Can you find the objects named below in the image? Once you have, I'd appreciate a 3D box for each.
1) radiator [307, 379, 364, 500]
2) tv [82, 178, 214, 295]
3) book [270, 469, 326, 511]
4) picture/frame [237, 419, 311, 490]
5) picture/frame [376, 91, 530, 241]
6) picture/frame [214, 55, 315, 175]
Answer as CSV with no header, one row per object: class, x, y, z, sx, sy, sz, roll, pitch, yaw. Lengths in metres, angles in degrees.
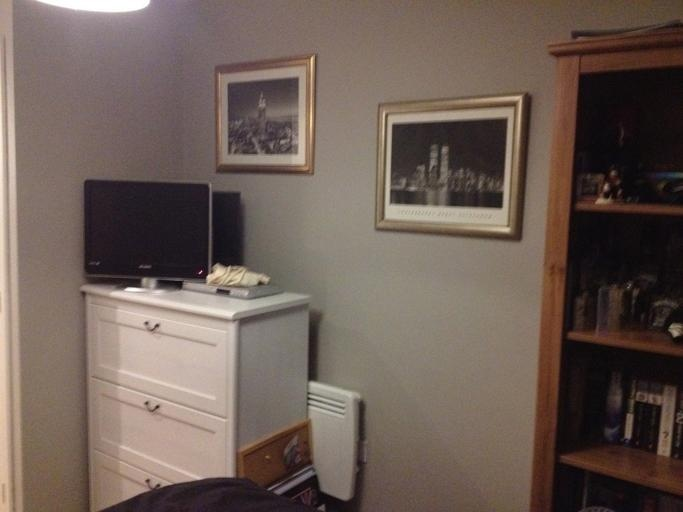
radiator,-0.054,0.989,3.081,0.309,0.575,0.088,6,7,28
tv,-1.025,-0.108,3.024,0.581,0.477,0.138,2,4,4
book,-0.226,1.192,2.999,0.241,0.080,0.342,-32,-35,28
picture/frame,-0.346,0.981,2.814,0.056,0.253,0.420,5,11,42
picture/frame,0.567,-0.441,2.742,0.695,0.662,0.050,5,8,31
picture/frame,-0.412,-0.813,3.230,0.680,0.609,0.046,4,9,31
